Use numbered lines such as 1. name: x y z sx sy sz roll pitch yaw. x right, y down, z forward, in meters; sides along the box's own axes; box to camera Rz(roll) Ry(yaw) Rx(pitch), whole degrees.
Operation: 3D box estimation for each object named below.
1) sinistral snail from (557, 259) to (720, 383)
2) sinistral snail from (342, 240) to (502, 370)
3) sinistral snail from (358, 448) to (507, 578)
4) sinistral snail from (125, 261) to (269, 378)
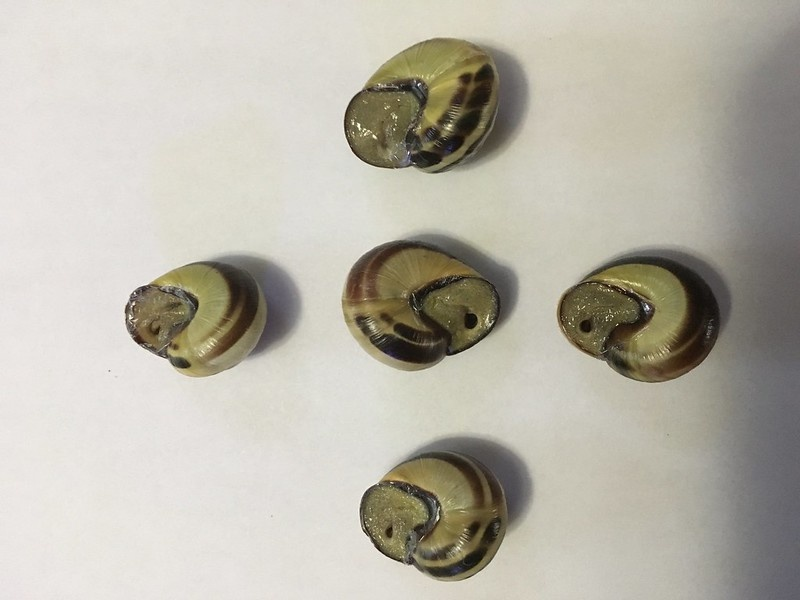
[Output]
1. sinistral snail: 0.743 0.072 3.312 0.480 0.208 0.284 -6 -58 1
2. sinistral snail: 0.055 0.032 3.436 0.507 0.478 0.250 17 -29 14
3. sinistral snail: 0.106 0.713 3.418 0.476 0.490 0.209 -12 -48 -3
4. sinistral snail: -0.679 0.048 3.487 0.466 0.482 0.195 -1 -42 4
